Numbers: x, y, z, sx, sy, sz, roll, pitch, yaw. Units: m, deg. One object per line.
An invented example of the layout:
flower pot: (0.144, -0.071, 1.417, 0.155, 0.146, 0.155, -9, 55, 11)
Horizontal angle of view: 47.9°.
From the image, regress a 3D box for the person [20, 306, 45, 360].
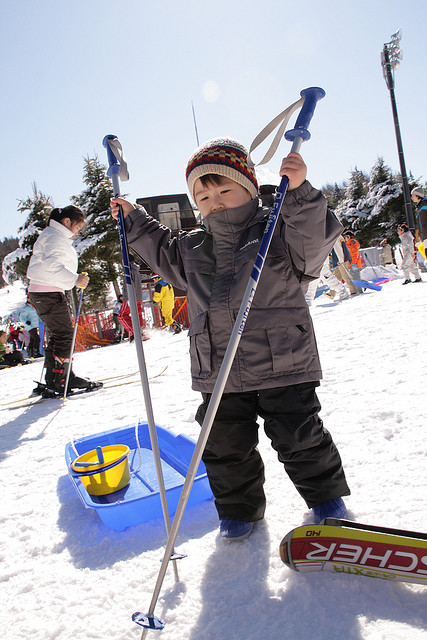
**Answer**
person: (-4.059, 0.316, 10.727, 0.612, 0.378, 1.421, -12, -34, -9)

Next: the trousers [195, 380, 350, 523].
trousers: (0.182, 0.457, 1.614, 0.425, 0.676, 0.205, -16, -4, 17)

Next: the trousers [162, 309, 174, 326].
trousers: (-0.945, -0.058, 9.771, 0.201, 0.301, 0.084, -3, 11, 18)

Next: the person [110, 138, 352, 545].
person: (0.137, 0.013, 1.676, 0.649, 1.340, 0.760, -13, 8, -23)

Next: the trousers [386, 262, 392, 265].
trousers: (6.160, -2.000, 16.871, 0.105, 0.070, 0.403, -5, 8, 34)

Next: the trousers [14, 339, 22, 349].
trousers: (-5.579, 0.672, 13.679, 0.165, 0.213, 0.133, -13, 8, -25)

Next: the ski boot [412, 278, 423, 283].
ski boot: (3.919, -0.784, 9.236, 0.061, 0.077, 0.201, 30, 43, 34)

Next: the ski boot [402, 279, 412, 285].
ski boot: (3.726, -0.738, 9.308, 0.076, 0.090, 0.229, -1, 2, -15)

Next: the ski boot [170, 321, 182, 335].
ski boot: (-0.819, 0.153, 10.262, 0.121, 0.294, 0.300, -10, 8, 40)

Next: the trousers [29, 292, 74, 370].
trousers: (-1.536, 0.071, 4.580, 0.309, 0.867, 0.440, -20, 15, -31)

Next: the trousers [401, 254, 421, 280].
trousers: (3.716, -1.010, 9.104, 0.264, 0.500, 0.301, -6, 9, 30)

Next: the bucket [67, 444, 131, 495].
bucket: (-0.485, 0.627, 2.046, 0.198, 0.212, 0.163, -6, 8, 12)
